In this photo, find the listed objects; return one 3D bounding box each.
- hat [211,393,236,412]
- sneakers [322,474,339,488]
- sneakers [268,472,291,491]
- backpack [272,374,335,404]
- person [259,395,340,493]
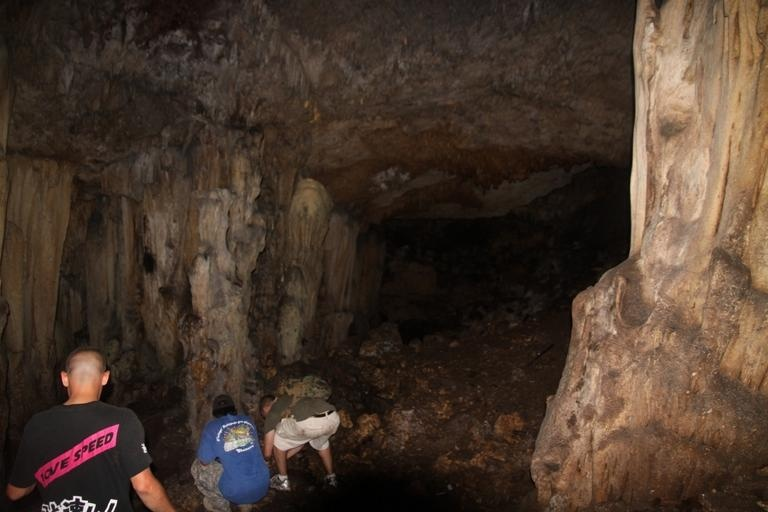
[{"bbox_3d":[-1.550,1.407,6.876,0.142,0.155,0.194,0,2,-13],"label":"hat"},{"bbox_3d":[-0.565,2.404,7.592,0.149,0.157,0.103,-3,-5,27],"label":"sneakers"},{"bbox_3d":[-1.101,2.379,7.502,0.263,0.131,0.110,3,2,42],"label":"sneakers"},{"bbox_3d":[-0.850,1.426,7.491,0.399,0.108,0.330,8,17,9],"label":"backpack"},{"bbox_3d":[-0.960,1.923,7.607,0.944,0.933,0.727,4,7,25],"label":"person"}]
